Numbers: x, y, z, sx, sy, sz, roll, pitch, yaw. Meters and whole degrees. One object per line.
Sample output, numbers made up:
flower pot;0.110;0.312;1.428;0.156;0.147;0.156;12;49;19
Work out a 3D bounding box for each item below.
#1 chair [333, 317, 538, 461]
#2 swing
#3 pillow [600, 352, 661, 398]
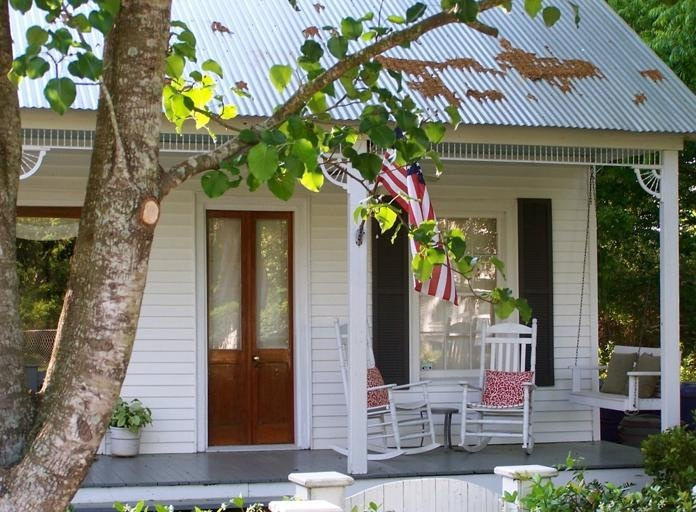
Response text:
chair;1.194;1.392;9.560;2.001;1.450;1.597;0;-5;-1
swing;2.946;0.366;9.940;0.981;2.879;1.764;-1;-5;16
pillow;3.100;1.306;9.800;0.422;0.458;0.968;1;-6;-8
